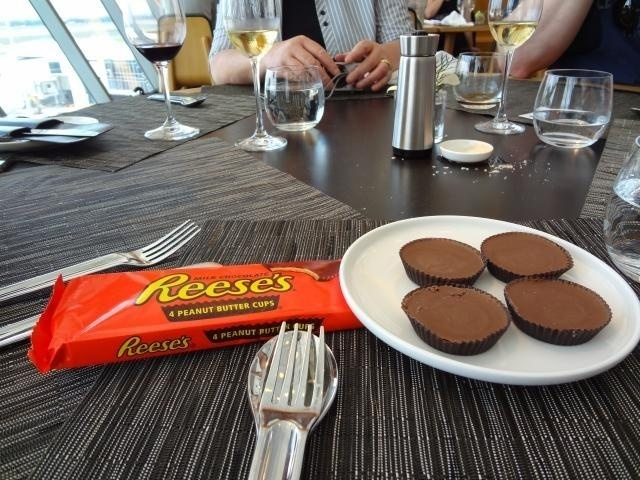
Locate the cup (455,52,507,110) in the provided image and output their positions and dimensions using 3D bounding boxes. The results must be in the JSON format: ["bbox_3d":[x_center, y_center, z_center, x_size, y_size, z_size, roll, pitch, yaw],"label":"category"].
[{"bbox_3d":[0.514,-0.492,1.378,0.173,0.136,0.154,0,20,9],"label":"cup"}]

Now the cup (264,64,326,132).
[{"bbox_3d":[-0.038,-0.384,1.186,0.191,0.146,0.165,-3,25,-1],"label":"cup"}]

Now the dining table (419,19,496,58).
[{"bbox_3d":[1.612,-2.308,5.233,0.554,0.467,0.835,-10,30,2],"label":"dining table"}]

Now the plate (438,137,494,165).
[{"bbox_3d":[0.335,-0.190,0.945,0.087,0.022,0.079,9,34,20],"label":"plate"}]

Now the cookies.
[{"bbox_3d":[0.211,0.033,0.493,0.165,0.023,0.141,-3,24,-4],"label":"cookies"}]

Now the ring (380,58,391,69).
[{"bbox_3d":[0.258,-0.642,1.614,0.035,0.029,0.060,1,32,7],"label":"ring"}]
